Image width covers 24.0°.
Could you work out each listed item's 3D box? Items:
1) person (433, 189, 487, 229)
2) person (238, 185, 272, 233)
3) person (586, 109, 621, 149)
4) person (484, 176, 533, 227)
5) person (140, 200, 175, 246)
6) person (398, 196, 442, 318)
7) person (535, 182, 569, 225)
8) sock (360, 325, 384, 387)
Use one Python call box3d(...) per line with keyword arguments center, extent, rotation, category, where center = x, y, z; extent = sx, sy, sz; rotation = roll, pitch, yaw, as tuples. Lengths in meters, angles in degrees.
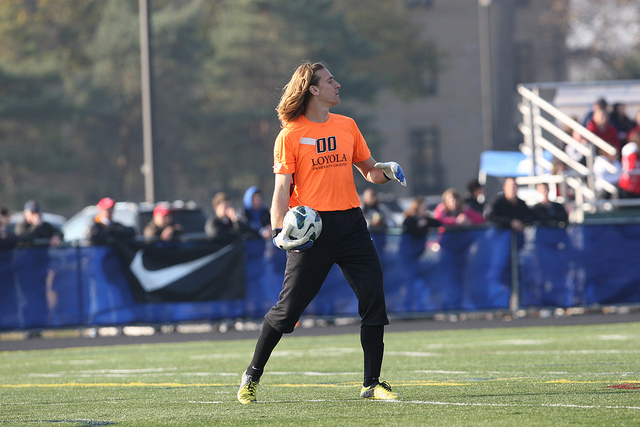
box3d(center=(3.250, -0.012, 35.259), extent=(1.074, 1.066, 0.884), rotation=(3, -1, -19), category="person")
box3d(center=(-1.525, -0.079, 35.212), extent=(0.812, 1.146, 0.443), rotation=(-5, -13, 7), category="person")
box3d(center=(6.818, -2.067, 36.531), extent=(0.788, 0.913, 0.417), rotation=(2, 12, 10), category="person")
box3d(center=(4.397, -0.269, 35.186), extent=(1.106, 0.975, 1.272), rotation=(-4, 13, -18), category="person")
box3d(center=(-3.735, 0.297, 34.509), extent=(0.606, 1.354, 0.563), rotation=(1, 0, -22), category="person")
box3d(center=(2.176, 0.954, 34.617), extent=(0.916, 2.596, 0.658), rotation=(2, 0, -6), category="person")
box3d(center=(5.361, -0.197, 35.911), extent=(1.043, 0.942, 0.642), rotation=(5, 6, 44), category="person")
box3d(center=(0.902, 2.602, 27.445), extent=(0.387, 1.124, 0.269), rotation=(0, 12, 1), category="sock")
